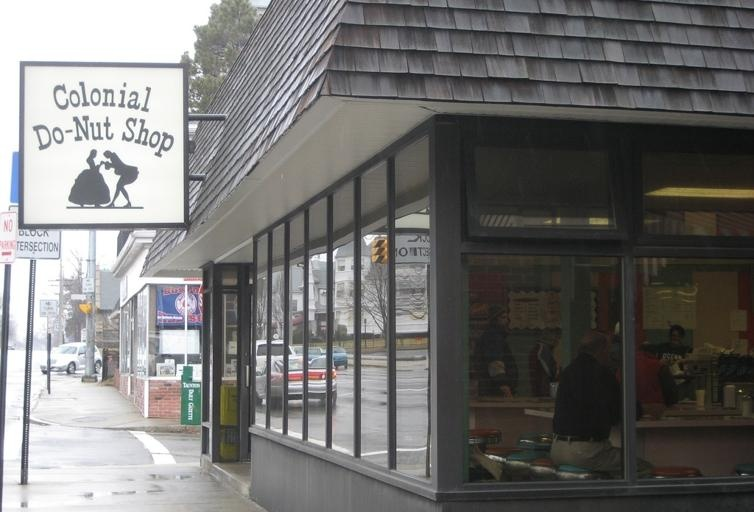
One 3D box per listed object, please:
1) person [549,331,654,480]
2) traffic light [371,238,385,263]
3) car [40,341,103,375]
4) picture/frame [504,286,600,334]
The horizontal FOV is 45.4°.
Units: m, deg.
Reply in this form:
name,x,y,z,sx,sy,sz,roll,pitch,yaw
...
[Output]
name,x,y,z,sx,sy,sz,roll,pitch,yaw
person,1.970,1.277,7.935,0.977,1.488,0.948,2,-3,-37
traffic light,0.016,-0.057,8.345,0.186,0.180,0.187,-1,-3,11
car,-18.339,6.036,53.222,2.123,1.905,3.930,2,-9,-15
picture/frame,1.488,0.464,7.677,0.796,0.329,0.123,2,-9,-11
